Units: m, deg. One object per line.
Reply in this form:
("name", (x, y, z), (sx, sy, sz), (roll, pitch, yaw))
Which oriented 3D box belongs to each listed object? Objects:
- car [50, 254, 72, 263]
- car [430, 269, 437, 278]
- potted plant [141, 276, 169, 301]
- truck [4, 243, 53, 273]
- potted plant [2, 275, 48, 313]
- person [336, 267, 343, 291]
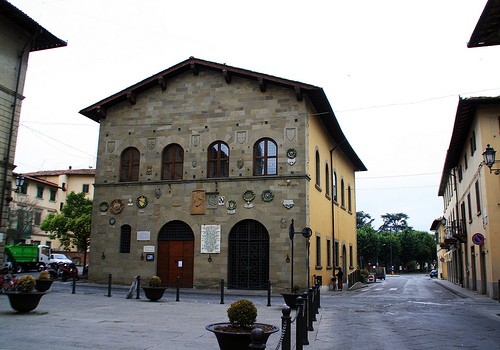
("car", (-20.256, 8.908, 46.032), (1.629, 1.357, 2.738), (9, -21, -42))
("car", (33.966, 18.411, 79.671), (1.101, 1.163, 2.556), (-4, -14, 24))
("potted plant", (-5.194, 6.166, 23.407), (1.059, 1.259, 2.831), (4, -13, -11))
("truck", (-21.386, 8.070, 41.523), (1.391, 2.660, 4.211), (-4, -14, 23))
("potted plant", (-9.238, 4.946, 17.702), (1.733, 1.568, 1.761), (-3, -15, 17))
("person", (7.072, 8.300, 34.204), (0.425, 1.653, 0.941), (-2, -13, 13))
